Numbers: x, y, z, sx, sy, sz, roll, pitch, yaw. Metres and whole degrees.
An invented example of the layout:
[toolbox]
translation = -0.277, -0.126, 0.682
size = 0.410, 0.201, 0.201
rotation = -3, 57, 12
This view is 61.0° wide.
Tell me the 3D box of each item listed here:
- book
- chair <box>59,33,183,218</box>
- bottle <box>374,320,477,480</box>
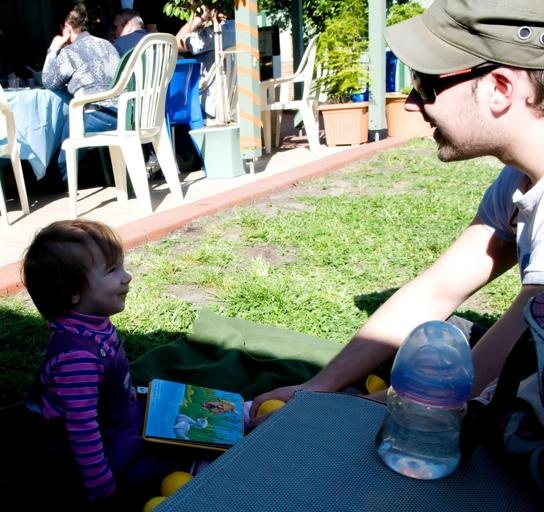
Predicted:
[book]
translation = -0.247, 0.495, 1.423
size = 0.275, 0.067, 0.291
rotation = 17, 8, 11
[chair]
translation = -1.377, -1.221, 4.305
size = 0.914, 1.501, 1.007
rotation = 0, 18, 2
[bottle]
translation = 0.236, 0.205, 0.706
size = 0.154, 0.200, 0.147
rotation = -2, 6, 0
